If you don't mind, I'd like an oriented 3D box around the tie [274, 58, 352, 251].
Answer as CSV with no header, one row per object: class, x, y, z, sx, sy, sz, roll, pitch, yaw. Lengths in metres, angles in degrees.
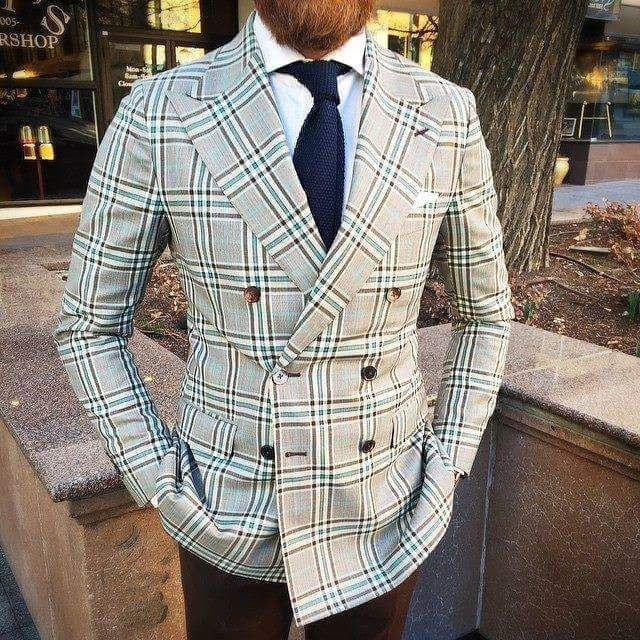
tie,-0.014,-0.268,0.853,0.098,0.268,0.155,-3,23,-8
